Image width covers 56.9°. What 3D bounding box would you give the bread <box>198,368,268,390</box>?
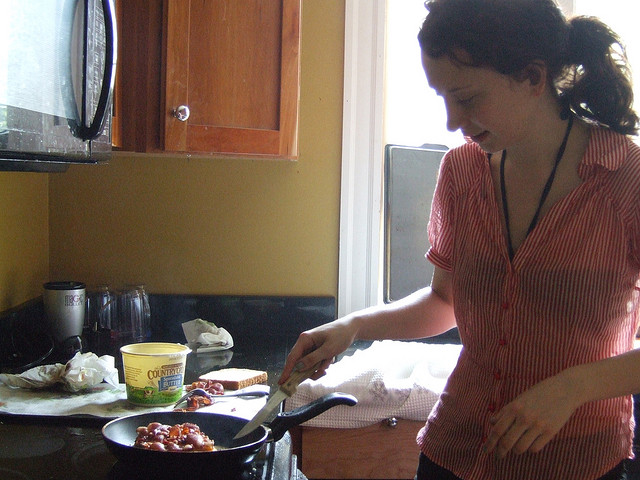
[{"bbox_3d":[-0.227,0.371,1.603,0.136,0.036,0.203,2,4,17],"label":"bread"}]

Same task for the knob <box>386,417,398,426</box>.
[{"bbox_3d":[0.197,0.497,1.624,0.025,0.020,0.012,7,-16,2],"label":"knob"}]

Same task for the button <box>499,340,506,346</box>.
[{"bbox_3d":[0.346,0.194,1.118,0.011,0.012,0.002,4,5,32],"label":"button"}]

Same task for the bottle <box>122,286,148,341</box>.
[{"bbox_3d":[-0.623,0.253,1.989,0.094,0.171,0.051,-2,5,-35],"label":"bottle"}]

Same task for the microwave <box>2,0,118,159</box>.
[{"bbox_3d":[-0.451,-0.306,1.127,0.148,0.303,0.367,1,4,1],"label":"microwave"}]

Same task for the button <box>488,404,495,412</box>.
[{"bbox_3d":[0.327,0.321,1.130,0.012,0.014,0.003,4,5,38],"label":"button"}]

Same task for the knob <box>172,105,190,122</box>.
[{"bbox_3d":[-0.407,-0.368,1.729,0.039,0.044,0.040,6,4,41],"label":"knob"}]

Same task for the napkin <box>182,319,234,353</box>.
[{"bbox_3d":[-0.376,0.321,1.995,0.173,0.092,0.138,0,4,-15],"label":"napkin"}]

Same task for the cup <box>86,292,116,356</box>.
[{"bbox_3d":[-0.718,0.264,1.937,0.094,0.160,0.218,-1,5,-22],"label":"cup"}]

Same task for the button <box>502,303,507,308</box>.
[{"bbox_3d":[0.346,0.123,1.112,0.006,0.008,0.002,-17,-16,24],"label":"button"}]

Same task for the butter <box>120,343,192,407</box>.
[{"bbox_3d":[-0.395,0.320,1.435,0.164,0.131,0.160,1,4,14],"label":"butter"}]

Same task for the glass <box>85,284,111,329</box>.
[{"bbox_3d":[-0.742,0.226,2.002,0.132,0.139,0.080,5,6,42],"label":"glass"}]
